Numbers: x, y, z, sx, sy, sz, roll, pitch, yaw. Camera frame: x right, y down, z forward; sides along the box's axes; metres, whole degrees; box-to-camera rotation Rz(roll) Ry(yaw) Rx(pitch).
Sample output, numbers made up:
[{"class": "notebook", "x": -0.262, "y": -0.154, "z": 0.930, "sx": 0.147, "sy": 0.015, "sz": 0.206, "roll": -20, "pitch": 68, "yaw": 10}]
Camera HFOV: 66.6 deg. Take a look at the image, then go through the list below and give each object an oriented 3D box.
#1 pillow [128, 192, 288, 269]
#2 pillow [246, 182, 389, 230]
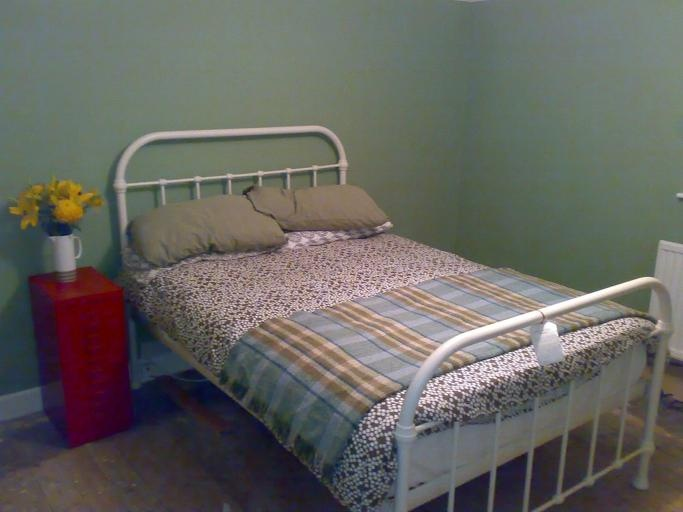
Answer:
[{"class": "pillow", "x": -0.777, "y": -0.179, "z": 2.897, "sx": 0.706, "sy": 0.192, "sz": 0.470, "roll": -23, "pitch": 40, "yaw": -31}, {"class": "pillow", "x": -0.126, "y": -0.303, "z": 3.124, "sx": 0.630, "sy": 0.175, "sz": 0.357, "roll": -6, "pitch": 35, "yaw": -26}]
